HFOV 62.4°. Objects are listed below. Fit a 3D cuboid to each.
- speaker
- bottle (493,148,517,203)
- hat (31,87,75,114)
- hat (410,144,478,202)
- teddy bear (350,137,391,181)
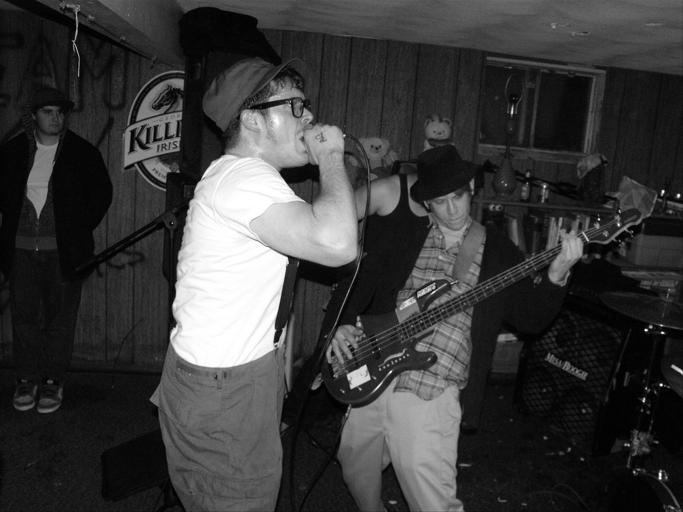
[{"bbox_3d":[1.639,0.867,3.783,0.686,0.899,0.608,22,4,39],"label":"speaker"},{"bbox_3d":[1.196,-0.601,4.076,0.137,0.344,0.145,3,17,-1],"label":"bottle"},{"bbox_3d":[-1.957,-1.034,3.821,0.207,0.101,0.208,-4,2,20],"label":"hat"},{"bbox_3d":[0.457,-0.363,2.488,0.274,0.268,0.192,3,8,-4],"label":"hat"},{"bbox_3d":[0.245,-0.760,4.081,0.324,0.322,0.150,1,45,-2],"label":"teddy bear"}]
